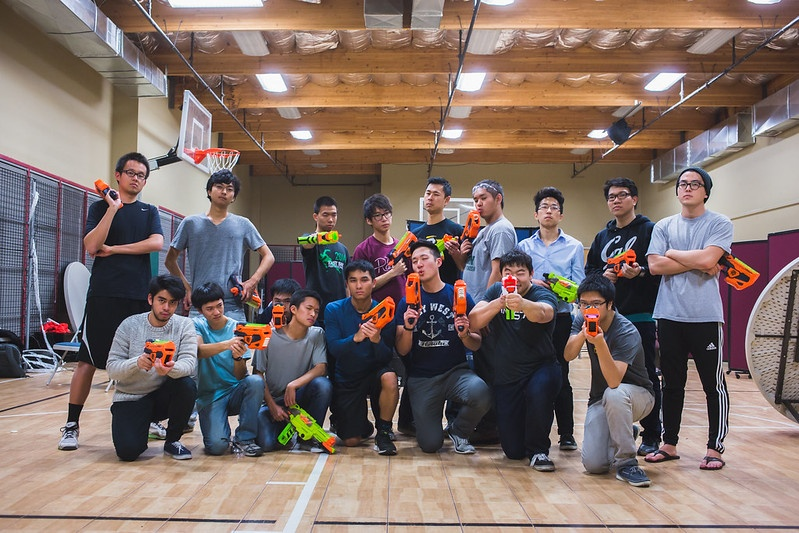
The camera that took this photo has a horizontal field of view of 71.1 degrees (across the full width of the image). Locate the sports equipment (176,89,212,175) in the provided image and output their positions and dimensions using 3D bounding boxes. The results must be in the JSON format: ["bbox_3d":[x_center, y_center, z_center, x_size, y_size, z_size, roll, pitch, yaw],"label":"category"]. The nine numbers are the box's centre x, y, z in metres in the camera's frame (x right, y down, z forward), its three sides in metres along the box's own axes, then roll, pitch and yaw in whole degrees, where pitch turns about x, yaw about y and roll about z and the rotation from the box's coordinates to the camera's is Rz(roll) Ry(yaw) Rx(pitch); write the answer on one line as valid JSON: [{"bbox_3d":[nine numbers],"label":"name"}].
[{"bbox_3d":[-3.950,-2.679,10.607,0.155,1.552,2.176,-10,24,-33],"label":"sports equipment"}]

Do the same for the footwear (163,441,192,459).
[{"bbox_3d":[-1.843,1.526,4.671,0.275,0.099,0.103,-3,-6,33],"label":"footwear"}]

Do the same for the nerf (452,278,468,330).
[{"bbox_3d":[0.520,0.330,4.773,0.104,0.429,0.170,1,7,2],"label":"nerf"}]

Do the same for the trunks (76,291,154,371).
[{"bbox_3d":[-2.559,0.535,4.944,0.483,0.617,0.327,-1,1,-6],"label":"trunks"}]

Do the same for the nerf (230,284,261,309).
[{"bbox_3d":[-1.410,0.267,5.206,0.259,0.096,0.149,38,-12,-4],"label":"nerf"}]

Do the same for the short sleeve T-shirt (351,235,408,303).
[{"bbox_3d":[-0.075,0.015,5.906,0.345,0.687,0.680,-29,-13,27],"label":"short sleeve T-shirt"}]

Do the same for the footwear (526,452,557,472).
[{"bbox_3d":[1.143,1.580,4.536,0.094,0.081,0.206,1,4,-5],"label":"footwear"}]

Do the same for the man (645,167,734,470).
[{"bbox_3d":[2.449,0.404,4.739,0.721,2.474,0.666,5,9,29],"label":"man"}]

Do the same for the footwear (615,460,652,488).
[{"bbox_3d":[1.797,1.584,4.297,0.153,0.144,0.224,-3,8,-28],"label":"footwear"}]

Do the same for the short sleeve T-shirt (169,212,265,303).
[{"bbox_3d":[-1.714,-0.099,5.319,0.898,0.840,0.330,0,5,-18],"label":"short sleeve T-shirt"}]

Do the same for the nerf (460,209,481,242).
[{"bbox_3d":[0.730,-0.369,5.360,0.108,0.365,0.180,15,1,-9],"label":"nerf"}]

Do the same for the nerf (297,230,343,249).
[{"bbox_3d":[-0.786,-0.272,5.564,0.386,0.171,0.353,2,7,4],"label":"nerf"}]

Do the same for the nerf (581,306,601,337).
[{"bbox_3d":[1.488,0.426,4.320,0.112,0.219,0.077,3,8,17],"label":"nerf"}]

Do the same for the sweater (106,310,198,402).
[{"bbox_3d":[-2.126,0.751,4.780,0.669,0.768,0.753,6,-2,-34],"label":"sweater"}]

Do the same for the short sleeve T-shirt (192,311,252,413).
[{"bbox_3d":[-1.608,0.843,4.910,0.724,0.838,0.404,1,-1,-34],"label":"short sleeve T-shirt"}]

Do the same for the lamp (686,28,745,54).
[{"bbox_3d":[5.313,-3.798,9.372,0.639,0.257,0.988,1,7,0],"label":"lamp"}]

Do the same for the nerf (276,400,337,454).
[{"bbox_3d":[-0.836,1.434,4.839,0.613,0.340,0.148,34,17,14],"label":"nerf"}]

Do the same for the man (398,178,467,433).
[{"bbox_3d":[0.388,0.551,5.701,0.487,2.950,1.150,1,5,-9],"label":"man"}]

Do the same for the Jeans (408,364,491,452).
[{"bbox_3d":[0.499,1.240,5.030,0.749,0.942,0.674,7,-25,-16],"label":"Jeans"}]

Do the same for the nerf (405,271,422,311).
[{"bbox_3d":[0.120,0.217,4.839,0.125,0.318,0.204,1,7,1],"label":"nerf"}]

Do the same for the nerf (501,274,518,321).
[{"bbox_3d":[0.897,0.242,4.486,0.111,0.343,0.219,-1,-28,14],"label":"nerf"}]

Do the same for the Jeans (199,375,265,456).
[{"bbox_3d":[-1.443,1.255,4.772,0.568,0.631,0.351,0,7,-8],"label":"Jeans"}]

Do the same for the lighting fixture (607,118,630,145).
[{"bbox_3d":[4.684,-2.920,11.989,0.421,0.539,0.354,7,9,39],"label":"lighting fixture"}]

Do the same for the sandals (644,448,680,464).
[{"bbox_3d":[2.211,1.591,4.711,0.284,0.075,0.102,2,-4,-11],"label":"sandals"}]

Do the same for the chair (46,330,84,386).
[{"bbox_3d":[-4.383,1.061,7.409,0.507,0.667,0.388,3,-7,-31],"label":"chair"}]

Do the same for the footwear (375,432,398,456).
[{"bbox_3d":[-0.117,1.515,4.874,0.179,0.149,0.282,1,7,-4],"label":"footwear"}]

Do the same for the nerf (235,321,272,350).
[{"bbox_3d":[-1.209,0.583,4.633,0.284,0.241,0.157,-1,7,-12],"label":"nerf"}]

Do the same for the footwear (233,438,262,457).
[{"bbox_3d":[-1.275,1.517,4.708,0.272,0.105,0.100,3,1,15],"label":"footwear"}]

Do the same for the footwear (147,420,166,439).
[{"bbox_3d":[-2.250,1.501,5.153,0.318,0.134,0.108,-6,-10,37],"label":"footwear"}]

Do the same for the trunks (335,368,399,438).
[{"bbox_3d":[-0.315,1.223,5.062,0.637,0.704,0.378,1,-12,15],"label":"trunks"}]

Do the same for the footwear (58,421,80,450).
[{"bbox_3d":[-2.817,1.442,4.771,0.151,0.216,0.193,-2,8,-24],"label":"footwear"}]

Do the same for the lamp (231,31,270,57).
[{"bbox_3d":[-2.403,-3.664,9.120,0.328,0.315,0.589,9,-9,1],"label":"lamp"}]

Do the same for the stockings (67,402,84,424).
[{"bbox_3d":[-2.797,1.255,4.832,0.106,0.198,0.129,-3,8,-30],"label":"stockings"}]

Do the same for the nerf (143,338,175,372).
[{"bbox_3d":[-1.899,0.698,4.442,0.206,0.204,0.145,-3,8,-29],"label":"nerf"}]

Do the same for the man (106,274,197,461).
[{"bbox_3d":[-2.043,0.826,4.623,0.724,1.502,0.497,-1,8,-17],"label":"man"}]

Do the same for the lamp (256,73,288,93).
[{"bbox_3d":[-2.441,-3.553,10.761,0.367,0.087,0.368,3,-14,-2],"label":"lamp"}]

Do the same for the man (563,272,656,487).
[{"bbox_3d":[1.687,0.863,4.503,0.715,1.547,0.621,4,8,23],"label":"man"}]
